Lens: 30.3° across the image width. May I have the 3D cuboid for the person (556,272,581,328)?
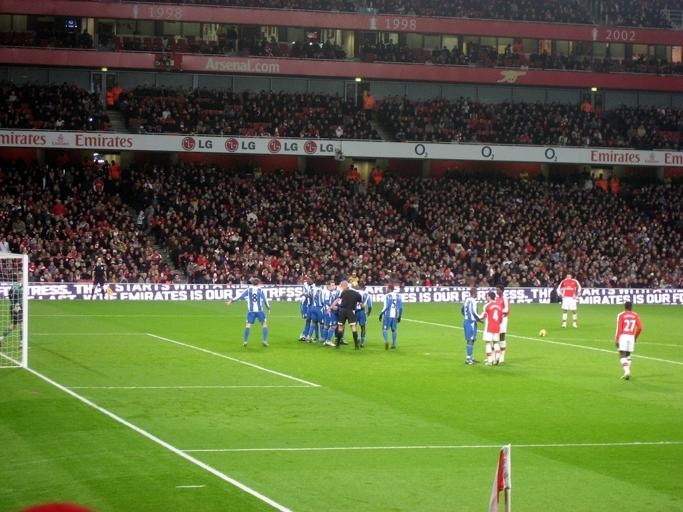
[{"bbox_3d":[9.803,1.811,53.989,0.861,2.695,0.695,0,18,10],"label":"person"}]

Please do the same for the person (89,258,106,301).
[{"bbox_3d":[-11.234,0.994,58.192,0.666,2.082,0.864,-2,11,-13],"label":"person"}]

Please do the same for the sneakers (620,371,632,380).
[{"bbox_3d":[9.879,4.131,43.380,0.140,0.284,0.472,3,-5,2],"label":"sneakers"}]

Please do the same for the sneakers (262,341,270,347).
[{"bbox_3d":[-2.833,3.295,47.251,0.126,0.194,0.409,0,-9,-8],"label":"sneakers"}]

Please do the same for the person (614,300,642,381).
[{"bbox_3d":[9.927,2.858,43.296,0.873,2.880,0.852,-2,19,-2],"label":"person"}]
